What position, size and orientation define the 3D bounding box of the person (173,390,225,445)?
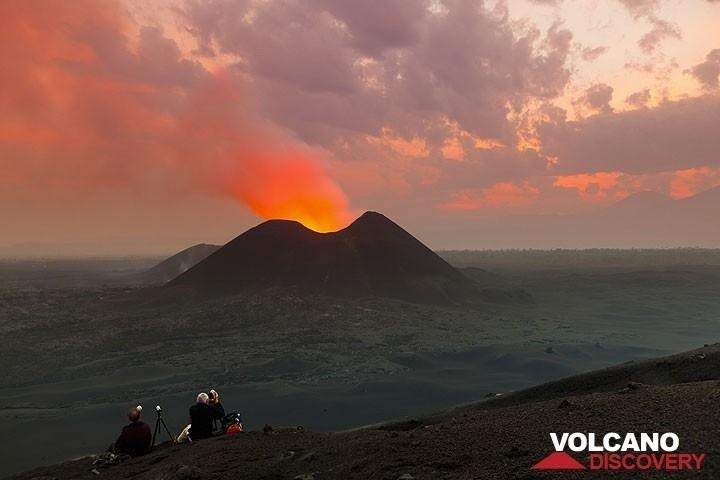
[{"bbox_3d":[-5.818,6.403,19.996,1.509,2.028,1.152,-2,7,-18],"label":"person"}]
